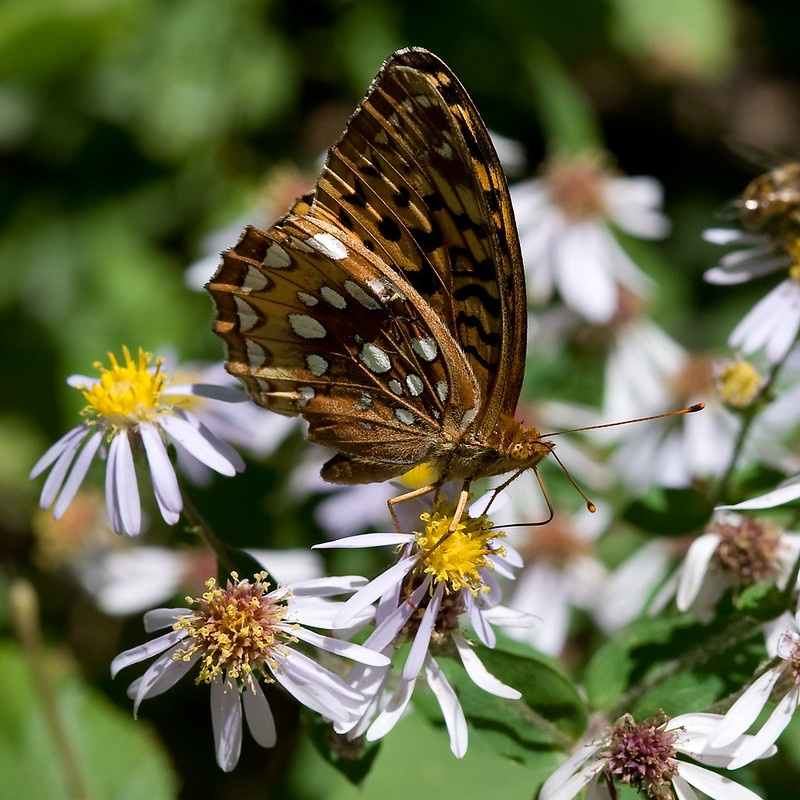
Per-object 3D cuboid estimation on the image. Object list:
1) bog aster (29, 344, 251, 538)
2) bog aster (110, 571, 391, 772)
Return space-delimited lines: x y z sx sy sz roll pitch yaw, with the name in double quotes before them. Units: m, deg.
"bog aster" -0.663 0.117 2.683 0.545 0.476 0.467 28 83 5
"bog aster" -0.310 0.593 2.409 0.600 0.360 0.438 -31 82 -4
